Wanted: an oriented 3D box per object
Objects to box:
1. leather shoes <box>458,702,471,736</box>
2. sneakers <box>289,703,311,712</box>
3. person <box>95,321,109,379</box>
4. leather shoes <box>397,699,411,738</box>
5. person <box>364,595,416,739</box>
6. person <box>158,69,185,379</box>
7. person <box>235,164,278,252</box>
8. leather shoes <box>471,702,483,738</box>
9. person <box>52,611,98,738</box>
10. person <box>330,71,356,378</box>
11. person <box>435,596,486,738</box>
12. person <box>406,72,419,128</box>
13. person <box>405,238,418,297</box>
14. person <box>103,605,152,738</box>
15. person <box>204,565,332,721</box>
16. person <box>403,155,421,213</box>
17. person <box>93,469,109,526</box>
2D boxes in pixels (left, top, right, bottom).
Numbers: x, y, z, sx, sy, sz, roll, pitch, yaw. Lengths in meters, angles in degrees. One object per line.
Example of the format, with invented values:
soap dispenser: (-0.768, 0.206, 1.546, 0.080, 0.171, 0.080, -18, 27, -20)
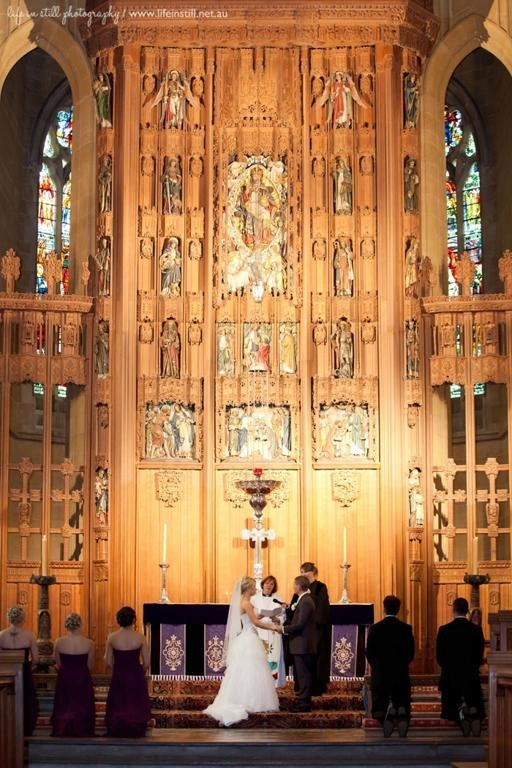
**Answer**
leather shoes: (2.153, 3.419, 14.777, 0.088, 0.325, 0.124, -1, -27, 10)
sneakers: (0.477, 3.471, 15.565, 0.235, 0.113, 0.086, 4, -4, -5)
person: (-2.159, -0.513, 20.119, 0.140, 0.818, 0.293, 5, -10, -38)
leather shoes: (1.500, 3.378, 14.595, 0.105, 0.359, 0.236, 0, -18, 6)
person: (1.377, 2.954, 14.713, 0.468, 1.222, 0.304, -2, -8, 4)
person: (-1.170, -2.333, 20.499, 0.411, 4.470, 0.166, -1, -8, -5)
person: (-0.002, -2.595, 20.584, 0.623, 0.194, 1.397, 2, -47, 6)
leather shoes: (2.253, 3.417, 14.724, 0.091, 0.349, 0.128, -1, -15, 4)
person: (-1.879, 2.973, 14.789, 0.447, 1.235, 0.473, 0, -8, -9)
person: (1.254, -2.328, 20.471, 0.479, 4.453, 0.227, -2, -8, 4)
person: (2.127, 2.907, 14.940, 0.481, 1.370, 0.401, -3, -8, 9)
person: (2.256, -4.115, 20.839, 0.158, 0.876, 0.373, -4, -8, 19)
person: (2.198, -1.694, 20.295, 0.207, 0.844, 0.126, -1, -8, -6)
person: (-1.313, 3.017, 14.682, 0.449, 1.098, 0.213, 0, -8, -8)
person: (0.092, 2.860, 15.585, 0.848, 1.553, 1.230, -8, -10, 37)
person: (2.229, -2.865, 20.495, 0.292, 0.836, 0.106, 3, -9, -29)
person: (-2.134, 1.513, 19.744, 0.124, 0.831, 0.310, 4, -10, -37)
